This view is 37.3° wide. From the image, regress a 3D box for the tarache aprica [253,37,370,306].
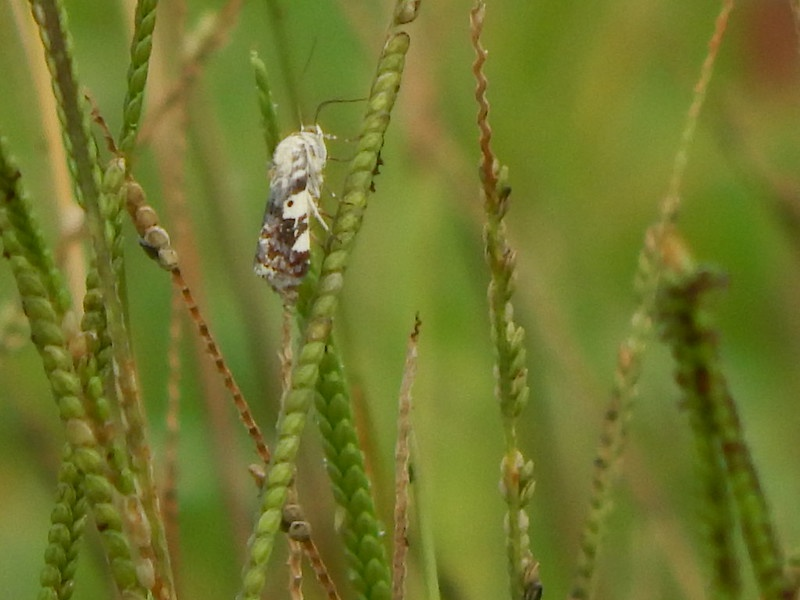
[{"bbox_3d":[-0.081,-0.102,1.034,0.122,0.132,0.038,-42,-54,17],"label":"tarache aprica"}]
